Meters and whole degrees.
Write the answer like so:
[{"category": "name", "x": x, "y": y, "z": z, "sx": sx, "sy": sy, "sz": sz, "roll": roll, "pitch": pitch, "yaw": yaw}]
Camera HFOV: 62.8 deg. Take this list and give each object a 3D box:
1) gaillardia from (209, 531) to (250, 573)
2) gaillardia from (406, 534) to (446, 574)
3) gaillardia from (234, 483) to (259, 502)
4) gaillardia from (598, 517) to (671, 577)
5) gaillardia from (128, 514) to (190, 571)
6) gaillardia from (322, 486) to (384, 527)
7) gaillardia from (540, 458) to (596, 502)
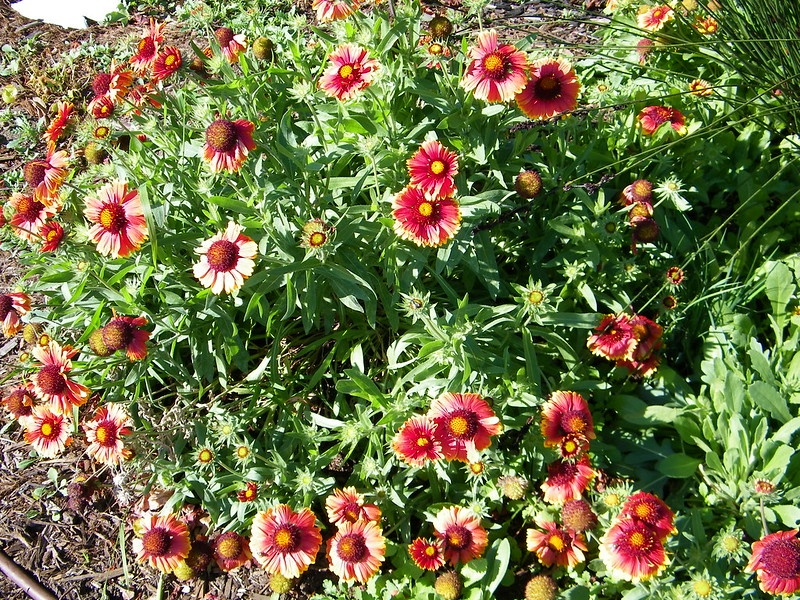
[{"category": "gaillardia", "x": -0.706, "y": 1.023, "z": 2.670, "sx": 0.159, "sy": 0.153, "sz": 0.100, "roll": -23, "pitch": 27, "yaw": 4}, {"category": "gaillardia", "x": 0.101, "y": 0.950, "z": 2.458, "sx": 0.120, "sy": 0.135, "sz": 0.048, "roll": -20, "pitch": 5, "yaw": 28}, {"category": "gaillardia", "x": -0.612, "y": 0.765, "z": 2.615, "sx": 0.077, "sy": 0.077, "sz": 0.032, "roll": -49, "pitch": -19, "yaw": 14}, {"category": "gaillardia", "x": 0.812, "y": 0.871, "z": 2.279, "sx": 0.214, "sy": 0.166, "sz": 0.146, "roll": -24, "pitch": 27, "yaw": 2}, {"category": "gaillardia", "x": -0.979, "y": 1.009, "z": 2.698, "sx": 0.236, "sy": 0.235, "sz": 0.160, "roll": -13, "pitch": 28, "yaw": 21}, {"category": "gaillardia", "x": -0.190, "y": 0.803, "z": 2.516, "sx": 0.156, "sy": 0.178, "sz": 0.072, "roll": -21, "pitch": -22, "yaw": -13}, {"category": "gaillardia", "x": 0.636, "y": 0.688, "z": 2.481, "sx": 0.184, "sy": 0.129, "sz": 0.148, "roll": -10, "pitch": 31, "yaw": 27}]
